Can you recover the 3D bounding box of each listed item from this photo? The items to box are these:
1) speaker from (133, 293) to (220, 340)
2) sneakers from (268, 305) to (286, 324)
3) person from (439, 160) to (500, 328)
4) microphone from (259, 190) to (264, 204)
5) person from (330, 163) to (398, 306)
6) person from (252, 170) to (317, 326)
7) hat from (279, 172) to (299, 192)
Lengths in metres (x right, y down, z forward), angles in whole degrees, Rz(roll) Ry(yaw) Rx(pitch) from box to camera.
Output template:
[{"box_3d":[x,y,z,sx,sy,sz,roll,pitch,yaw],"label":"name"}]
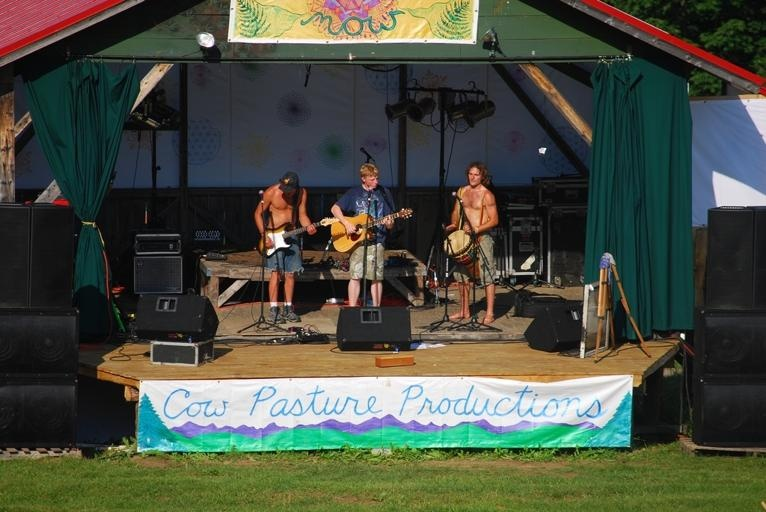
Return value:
[{"box_3d":[-2.880,0.842,22.877,1.087,0.646,0.439,0,-5,-8],"label":"speaker"},{"box_3d":[-1.591,0.858,24.572,0.243,0.262,0.491,0,-5,-5],"label":"sneakers"},{"box_3d":[1.280,-0.187,24.787,0.806,2.340,0.678,4,7,40],"label":"person"},{"box_3d":[-1.914,-0.928,25.725,0.075,0.073,0.339,-22,20,-2],"label":"microphone"},{"box_3d":[-0.335,-0.223,24.680,0.966,2.263,0.643,4,9,11],"label":"person"},{"box_3d":[-1.495,-0.136,24.717,0.971,2.191,0.859,1,5,-4],"label":"person"},{"box_3d":[-1.423,-1.095,24.552,0.252,0.280,0.409,0,-5,-5],"label":"hat"}]
